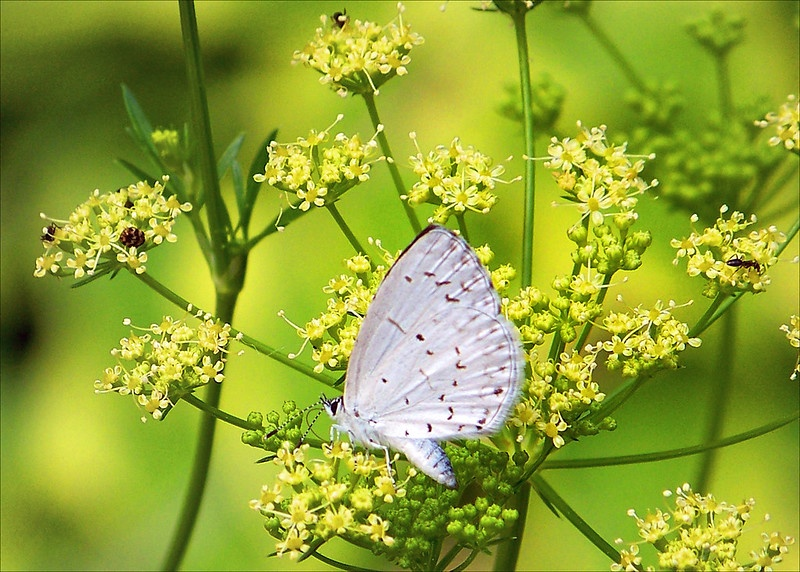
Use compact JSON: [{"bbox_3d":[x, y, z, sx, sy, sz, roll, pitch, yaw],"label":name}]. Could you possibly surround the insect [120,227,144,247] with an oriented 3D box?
[{"bbox_3d":[-1.777,-0.319,5.452,0.163,0.109,0.096,10,-41,-22],"label":"insect"}]
